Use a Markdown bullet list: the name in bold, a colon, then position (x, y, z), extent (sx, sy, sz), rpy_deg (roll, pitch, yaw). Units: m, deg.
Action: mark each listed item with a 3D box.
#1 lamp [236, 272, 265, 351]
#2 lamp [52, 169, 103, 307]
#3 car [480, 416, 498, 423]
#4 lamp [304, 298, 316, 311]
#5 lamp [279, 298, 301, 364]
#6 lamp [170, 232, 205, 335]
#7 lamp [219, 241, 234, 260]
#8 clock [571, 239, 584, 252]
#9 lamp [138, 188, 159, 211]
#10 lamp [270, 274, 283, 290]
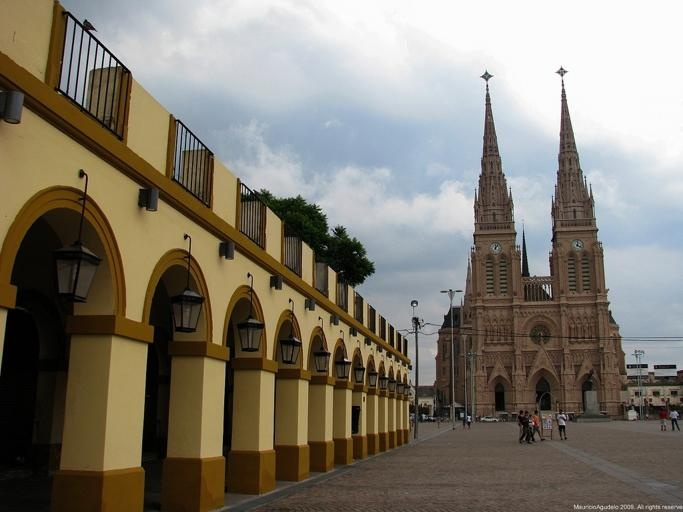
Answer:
- **lamp**: position (-2.020, 1.206, 14.453), extent (0.569, 1.764, 0.600), rpy_deg (-11, -18, 41)
- **lamp**: position (-3.772, -0.280, 9.357), extent (0.598, 1.909, 0.738), rpy_deg (1, -16, -11)
- **car**: position (21.715, 24.029, 94.820), extent (2.583, 1.014, 6.796), rpy_deg (-7, -18, 13)
- **lamp**: position (-0.918, 1.464, 18.854), extent (0.265, 0.404, 0.399), rpy_deg (-1, -10, 7)
- **lamp**: position (-1.283, 1.928, 16.633), extent (0.609, 1.547, 0.603), rpy_deg (8, -15, -19)
- **lamp**: position (-2.861, 0.501, 11.991), extent (0.555, 1.802, 0.861), rpy_deg (3, -16, -15)
- **lamp**: position (-2.397, -0.129, 13.504), extent (0.275, 0.429, 0.395), rpy_deg (-1, -16, -2)
- **clock**: position (37.912, -1.518, 103.870), extent (1.450, 1.491, 0.194), rpy_deg (-37, -12, -4)
- **lamp**: position (-3.187, -0.955, 10.768), extent (0.313, 0.434, 0.320), rpy_deg (-8, -17, 19)
- **lamp**: position (-1.644, 0.652, 16.104), extent (0.257, 0.374, 0.282), rpy_deg (-3, -16, 3)
